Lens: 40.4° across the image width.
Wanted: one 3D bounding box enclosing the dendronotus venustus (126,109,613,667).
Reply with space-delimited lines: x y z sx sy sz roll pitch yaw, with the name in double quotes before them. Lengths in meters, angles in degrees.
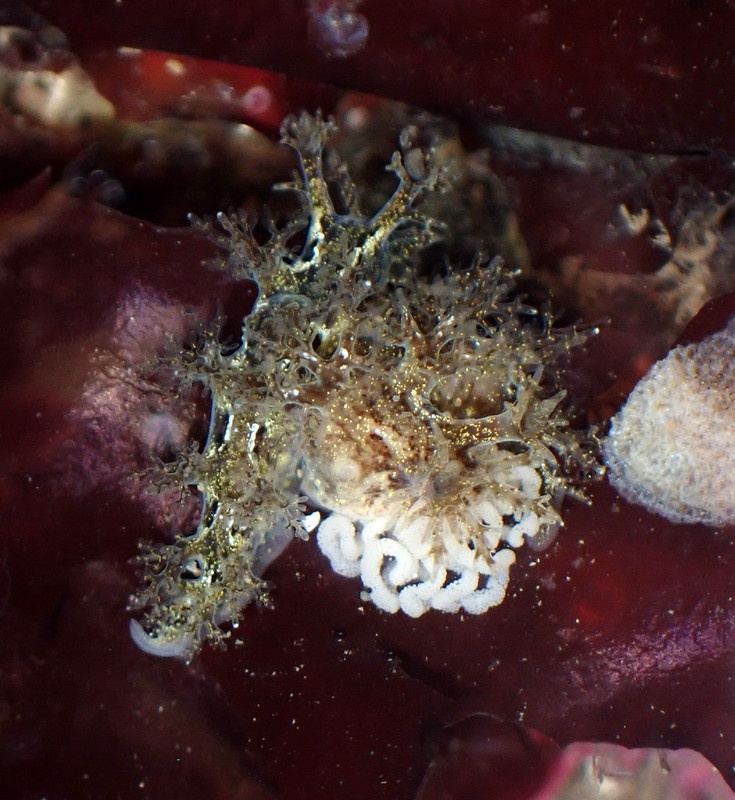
"dendronotus venustus" -0.026 -0.068 2.019 0.853 0.307 1.037 0 97 -3
